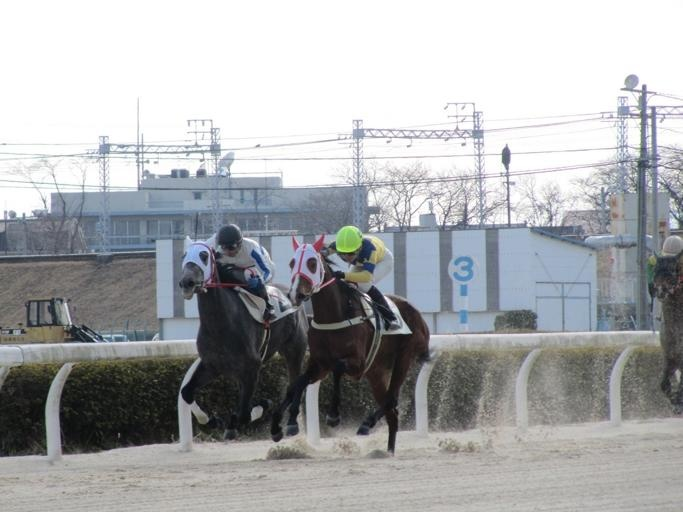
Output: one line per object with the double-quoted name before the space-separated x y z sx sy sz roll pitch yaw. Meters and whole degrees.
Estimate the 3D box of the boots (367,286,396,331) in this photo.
"boots" 0.700 1.001 30.486 0.165 0.749 0.247 -28 -1 -5

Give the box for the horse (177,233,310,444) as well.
"horse" -1.682 1.721 30.678 1.226 3.629 5.174 -1 -3 24

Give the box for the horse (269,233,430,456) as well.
"horse" 0.313 1.922 30.603 1.159 3.337 4.950 -2 -11 33

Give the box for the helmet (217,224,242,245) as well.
"helmet" -1.991 -0.342 29.890 0.304 0.347 0.398 -4 31 8

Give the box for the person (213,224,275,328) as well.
"person" -1.921 0.413 30.317 1.195 1.987 1.035 -13 15 -18

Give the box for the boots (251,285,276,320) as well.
"boots" -1.385 0.877 30.197 0.284 0.572 0.246 10 26 38
